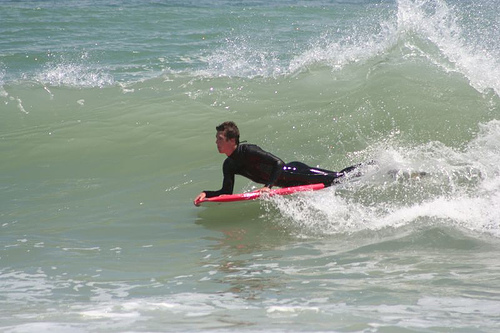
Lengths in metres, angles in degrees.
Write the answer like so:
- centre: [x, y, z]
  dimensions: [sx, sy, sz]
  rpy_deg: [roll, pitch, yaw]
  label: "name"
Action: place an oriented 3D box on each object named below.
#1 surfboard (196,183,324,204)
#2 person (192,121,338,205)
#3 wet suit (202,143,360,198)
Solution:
- centre: [0.218, 0.533, 13.202]
  dimensions: [2.441, 0.697, 0.240]
  rpy_deg: [-4, 65, -6]
  label: "surfboard"
- centre: [0.444, 0.040, 13.512]
  dimensions: [3.003, 1.274, 0.976]
  rpy_deg: [7, 63, -35]
  label: "person"
- centre: [0.720, 0.116, 13.503]
  dimensions: [3.320, 1.417, 1.052]
  rpy_deg: [9, 66, -28]
  label: "wet suit"
